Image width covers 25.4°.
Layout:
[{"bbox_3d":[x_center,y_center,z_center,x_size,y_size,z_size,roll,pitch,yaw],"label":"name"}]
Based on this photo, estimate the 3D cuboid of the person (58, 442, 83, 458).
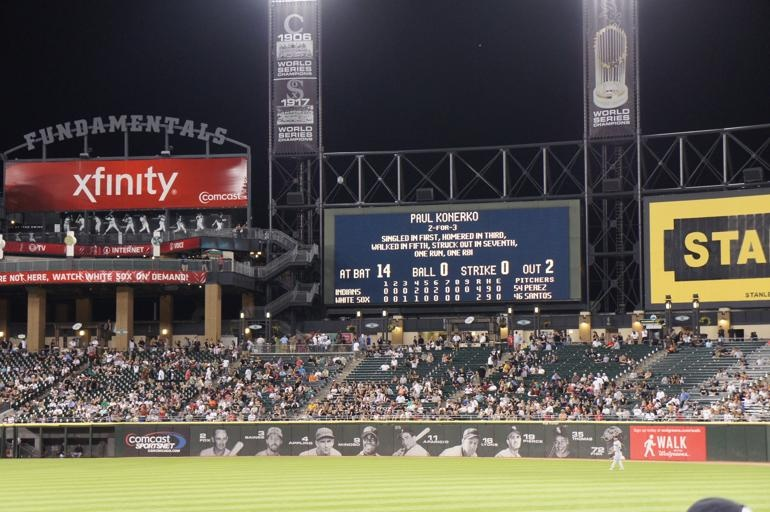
[{"bbox_3d":[-18.126,11.342,98.284,1.593,0.938,0.768,-1,-26,0],"label":"person"}]
